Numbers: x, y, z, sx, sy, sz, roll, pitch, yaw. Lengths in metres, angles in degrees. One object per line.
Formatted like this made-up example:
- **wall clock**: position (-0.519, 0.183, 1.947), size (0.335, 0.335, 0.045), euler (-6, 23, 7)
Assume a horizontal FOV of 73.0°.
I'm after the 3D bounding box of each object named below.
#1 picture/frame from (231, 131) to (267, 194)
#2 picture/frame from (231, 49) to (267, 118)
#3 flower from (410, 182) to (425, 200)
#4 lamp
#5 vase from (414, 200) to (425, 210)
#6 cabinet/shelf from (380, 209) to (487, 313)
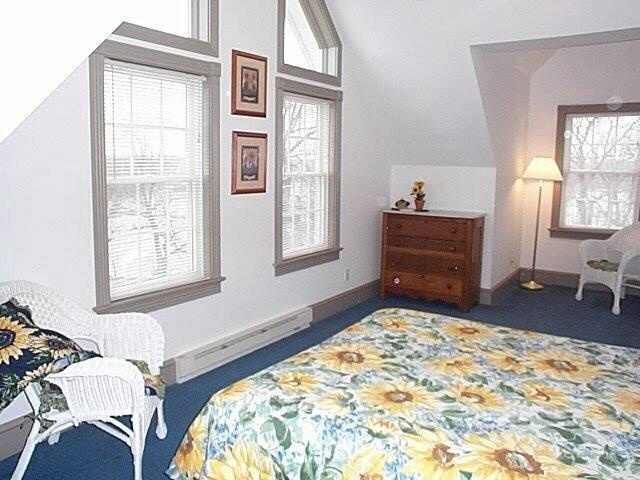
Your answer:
- **picture/frame**: position (-0.663, -0.718, 3.938), size (0.048, 0.669, 0.586), euler (6, 8, 38)
- **picture/frame**: position (-0.636, -1.391, 3.875), size (0.080, 0.545, 0.432), euler (5, 12, 28)
- **flower**: position (1.301, -0.651, 5.759), size (0.244, 0.270, 0.254), euler (0, 3, 2)
- **lamp**: position (3.241, -0.245, 6.399), size (0.526, 1.922, 0.617), euler (5, 12, 26)
- **vase**: position (1.322, -0.461, 5.726), size (0.126, 0.124, 0.131), euler (1, 0, 42)
- **cabinet/shelf**: position (1.463, 0.239, 5.415), size (1.220, 1.195, 0.650), euler (3, 5, 29)
